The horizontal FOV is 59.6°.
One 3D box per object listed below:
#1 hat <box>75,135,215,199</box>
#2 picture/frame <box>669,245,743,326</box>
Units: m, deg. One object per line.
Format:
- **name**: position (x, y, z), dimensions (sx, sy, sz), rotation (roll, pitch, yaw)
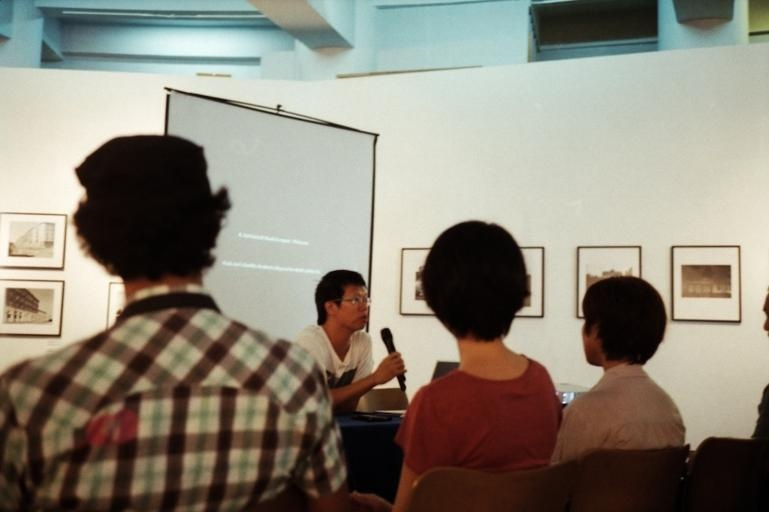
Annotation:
- **hat**: position (-0.889, -0.336, 2.566), dimensions (0.643, 0.181, 0.576), rotation (0, 15, -11)
- **picture/frame**: position (3.114, 0.265, 6.498), dimensions (0.612, 0.776, 0.020), rotation (-1, -23, 27)
